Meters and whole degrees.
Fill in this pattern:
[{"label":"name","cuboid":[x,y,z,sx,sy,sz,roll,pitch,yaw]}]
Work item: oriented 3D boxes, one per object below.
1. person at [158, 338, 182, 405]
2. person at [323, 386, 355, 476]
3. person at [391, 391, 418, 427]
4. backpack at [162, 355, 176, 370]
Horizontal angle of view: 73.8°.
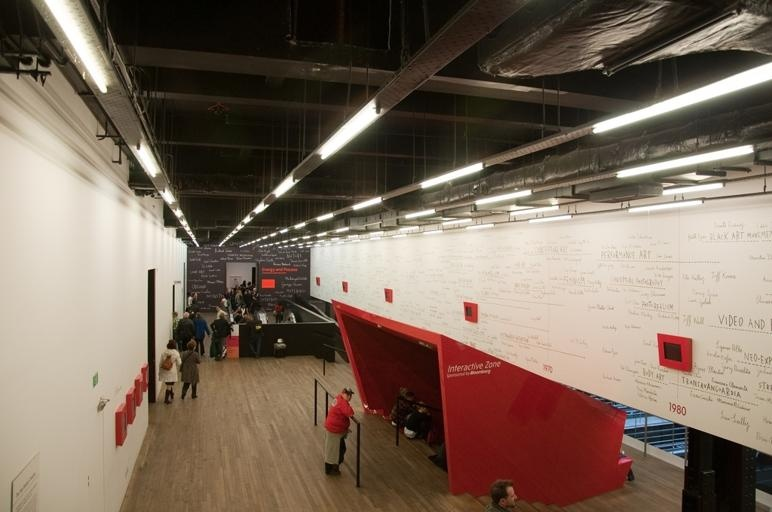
[{"label":"person","cuboid":[-4.633,2.398,11.002,0.431,1.567,1.709,2,4,-23]},{"label":"person","cuboid":[-0.778,2.817,8.332,0.424,1.404,0.571,3,4,-4]},{"label":"person","cuboid":[0.361,3.080,10.262,0.461,0.821,0.384,-4,27,-39]},{"label":"backpack","cuboid":[-4.386,2.138,10.306,0.211,0.266,0.100,6,-13,-5]}]
